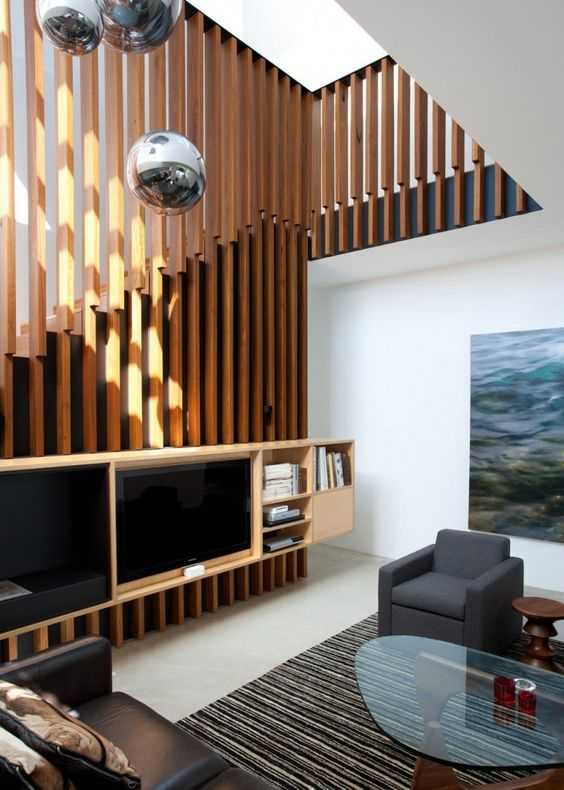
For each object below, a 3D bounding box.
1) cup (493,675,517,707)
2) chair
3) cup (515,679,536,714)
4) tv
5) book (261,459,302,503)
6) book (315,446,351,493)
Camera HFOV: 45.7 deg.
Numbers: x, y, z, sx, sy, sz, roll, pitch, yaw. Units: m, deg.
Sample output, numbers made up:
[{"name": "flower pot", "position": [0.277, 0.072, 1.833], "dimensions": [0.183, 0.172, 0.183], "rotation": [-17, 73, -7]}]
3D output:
[{"name": "cup", "position": [0.826, 1.092, 2.487], "dimensions": [0.066, 0.085, 0.063], "rotation": [-1, 4, 0]}, {"name": "chair", "position": [0.968, 1.154, 3.851], "dimensions": [0.769, 0.689, 0.875], "rotation": [3, -1, 12]}, {"name": "cup", "position": [0.898, 1.116, 2.460], "dimensions": [0.051, 0.108, 0.095], "rotation": [0, -4, -5]}, {"name": "tv", "position": [-0.574, 0.684, 3.713], "dimensions": [0.051, 0.517, 0.724], "rotation": [-3, -5, 32]}, {"name": "book", "position": [-0.009, 0.564, 4.357], "dimensions": [0.051, 0.228, 0.358], "rotation": [1, 1, 40]}, {"name": "book", "position": [0.359, 0.543, 4.800], "dimensions": [0.120, 0.343, 0.303], "rotation": [-5, -5, 30]}]
